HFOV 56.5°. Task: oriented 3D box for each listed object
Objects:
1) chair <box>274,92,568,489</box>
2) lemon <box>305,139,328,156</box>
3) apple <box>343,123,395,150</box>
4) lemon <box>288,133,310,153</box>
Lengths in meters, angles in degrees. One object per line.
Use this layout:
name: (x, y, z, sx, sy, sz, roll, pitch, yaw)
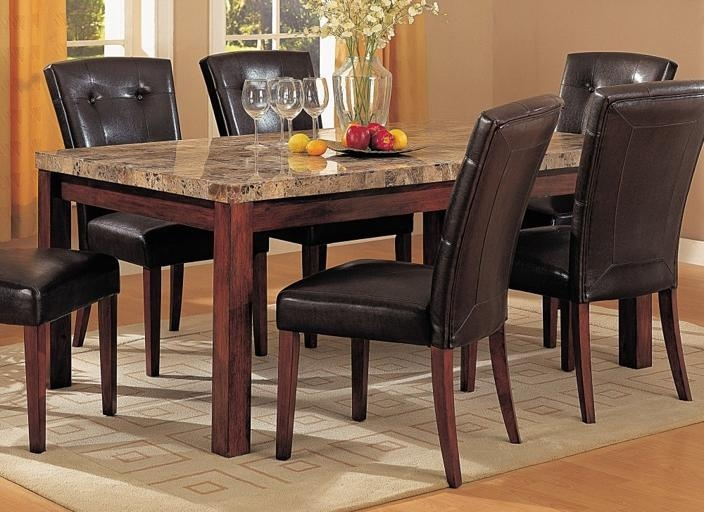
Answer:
chair: (0.183, 0.074, 2.011, 0.734, 1.121, 0.442, 5, 14, 18)
lemon: (-0.132, -0.397, 2.473, 0.086, 0.054, 0.056, -15, 41, -15)
apple: (0.075, -0.441, 2.431, 0.179, 0.068, 0.097, 6, 7, 15)
lemon: (-0.198, -0.440, 2.573, 0.076, 0.058, 0.090, 0, -2, -36)
